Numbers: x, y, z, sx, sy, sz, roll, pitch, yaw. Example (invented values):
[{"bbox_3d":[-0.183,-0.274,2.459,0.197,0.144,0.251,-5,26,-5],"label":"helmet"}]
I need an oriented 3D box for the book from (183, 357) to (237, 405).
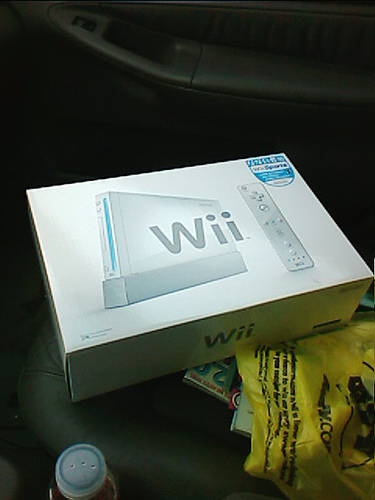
[{"bbox_3d":[0.039,0.156,0.574,0.081,0.079,0.016,7,14,24],"label":"book"}]

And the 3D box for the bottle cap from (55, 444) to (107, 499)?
[{"bbox_3d":[-0.102,0.213,0.416,0.044,0.025,0.041,-5,23,-11],"label":"bottle cap"}]

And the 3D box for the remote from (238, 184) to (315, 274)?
[{"bbox_3d":[0.130,-0.033,0.637,0.047,0.009,0.196,-8,51,-17],"label":"remote"}]
